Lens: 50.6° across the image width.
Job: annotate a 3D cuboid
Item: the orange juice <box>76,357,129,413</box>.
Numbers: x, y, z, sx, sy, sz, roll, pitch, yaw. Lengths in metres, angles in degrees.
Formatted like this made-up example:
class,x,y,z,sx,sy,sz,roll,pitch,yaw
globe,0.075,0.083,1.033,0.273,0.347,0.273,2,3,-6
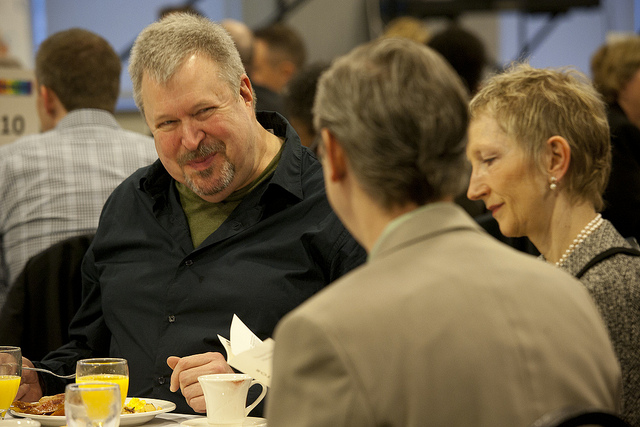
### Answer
class,x,y,z,sx,sy,sz,roll,pitch,yaw
orange juice,-0.662,0.521,2.131,0.161,0.210,0.177,-1,-8,-3

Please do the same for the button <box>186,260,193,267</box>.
class,x,y,z,sx,sy,sz,roll,pitch,yaw
button,-0.508,0.195,2.627,0.016,0.023,0.008,-1,-9,-5

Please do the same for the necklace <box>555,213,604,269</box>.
class,x,y,z,sx,sy,sz,roll,pitch,yaw
necklace,0.882,0.086,2.322,0.205,0.060,0.156,-50,-7,-13

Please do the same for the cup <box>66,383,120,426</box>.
class,x,y,z,sx,sy,sz,roll,pitch,yaw
cup,-0.610,0.529,1.852,0.110,0.141,0.120,-2,-18,-1

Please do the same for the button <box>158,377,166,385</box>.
class,x,y,z,sx,sy,sz,roll,pitch,yaw
button,-0.593,0.629,2.542,0.020,0.023,0.005,-5,-5,9

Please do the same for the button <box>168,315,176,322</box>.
class,x,y,z,sx,sy,sz,roll,pitch,yaw
button,-0.564,0.403,2.581,0.031,0.023,0.015,3,19,18
